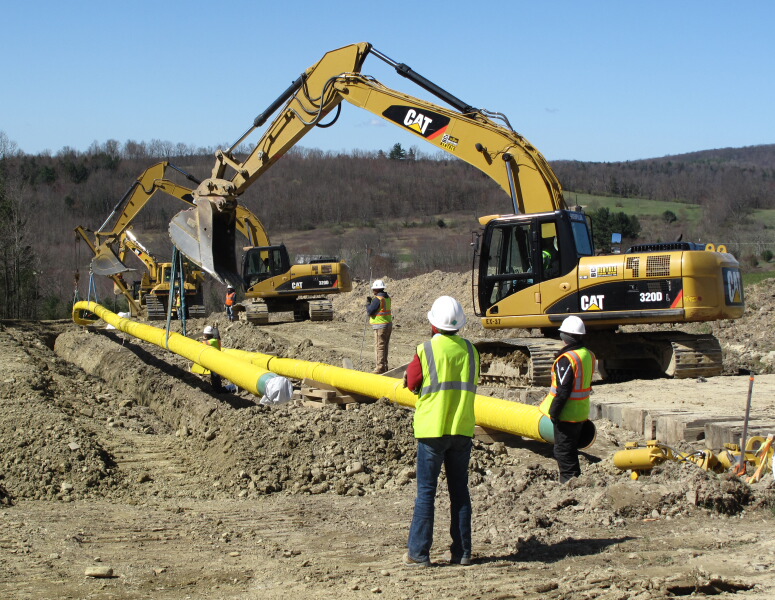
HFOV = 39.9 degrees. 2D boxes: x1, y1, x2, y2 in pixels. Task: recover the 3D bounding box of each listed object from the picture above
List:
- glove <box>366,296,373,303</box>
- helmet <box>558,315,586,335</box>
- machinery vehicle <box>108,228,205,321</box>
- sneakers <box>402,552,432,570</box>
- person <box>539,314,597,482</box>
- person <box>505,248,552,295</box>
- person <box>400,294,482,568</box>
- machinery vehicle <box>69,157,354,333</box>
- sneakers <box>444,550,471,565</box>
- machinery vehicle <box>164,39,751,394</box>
[{"bbox_3d":[-0.457,-0.011,26.152,0.165,0.167,0.220,2,7,1],"label":"glove"},{"bbox_3d":[2.172,0.303,12.585,0.225,0.169,0.294,3,2,6],"label":"helmet"},{"bbox_3d":[-6.646,-0.829,30.946,2.706,1.911,1.407,8,13,-8],"label":"machinery vehicle"},{"bbox_3d":[0.308,2.739,11.154,0.118,0.129,0.271,1,7,-37],"label":"sneakers"},{"bbox_3d":[2.142,1.194,12.520,0.567,1.941,0.960,-2,12,8],"label":"person"},{"bbox_3d":[2.332,-0.460,17.330,0.805,0.925,0.485,0,-2,15],"label":"person"},{"bbox_3d":[0.554,1.374,11.233,0.772,2.700,0.967,-1,13,12],"label":"person"},{"bbox_3d":[-4.914,-1.669,29.302,7.060,4.218,2.191,0,18,-8],"label":"machinery vehicle"},{"bbox_3d":[0.762,2.705,11.134,0.099,0.114,0.255,2,0,-11],"label":"sneakers"},{"bbox_3d":[0.501,-1.488,18.591,9.939,5.926,3.044,5,2,15],"label":"machinery vehicle"}]
